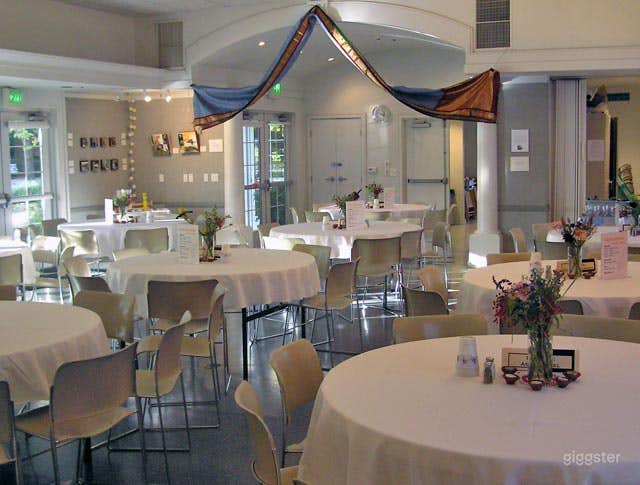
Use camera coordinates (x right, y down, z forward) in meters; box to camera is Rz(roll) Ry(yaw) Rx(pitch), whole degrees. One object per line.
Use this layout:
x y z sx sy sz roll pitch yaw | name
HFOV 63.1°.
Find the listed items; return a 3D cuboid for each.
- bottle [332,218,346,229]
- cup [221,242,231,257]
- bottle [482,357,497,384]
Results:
0.255 -0.238 6.988 0.135 0.097 0.142 0 -3 0 | bottle
-0.899 0.061 5.036 0.096 0.124 0.104 0 -2 0 | cup
0.743 0.566 2.284 0.033 0.081 0.091 -1 2 15 | bottle
